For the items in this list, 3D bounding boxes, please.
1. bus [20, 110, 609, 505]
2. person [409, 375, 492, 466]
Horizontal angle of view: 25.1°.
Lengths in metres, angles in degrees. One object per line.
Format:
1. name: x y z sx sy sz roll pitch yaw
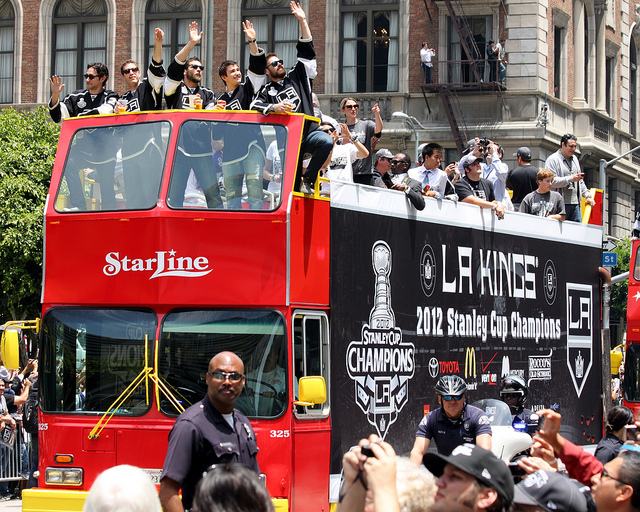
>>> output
1. bus: 0.773 0.607 19.648 9.590 4.838 3.237 0 5 -35
2. person: 1.442 1.903 16.658 0.963 1.335 0.775 -6 -10 16
